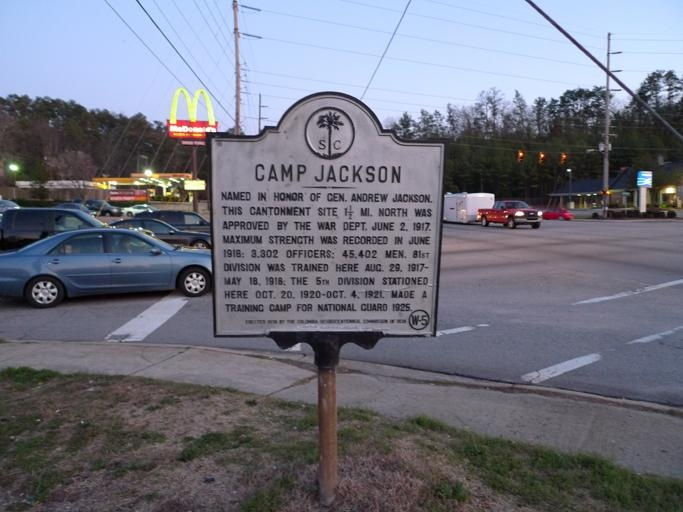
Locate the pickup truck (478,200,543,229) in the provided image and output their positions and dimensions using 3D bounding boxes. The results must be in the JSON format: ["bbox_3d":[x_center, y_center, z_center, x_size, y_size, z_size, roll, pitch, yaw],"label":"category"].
[{"bbox_3d":[10.406,-2.503,38.087,1.672,1.532,4.059,-2,6,-21],"label":"pickup truck"}]

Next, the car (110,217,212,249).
[{"bbox_3d":[-5.222,-0.672,17.897,2.777,1.061,1.320,1,6,1],"label":"car"}]
